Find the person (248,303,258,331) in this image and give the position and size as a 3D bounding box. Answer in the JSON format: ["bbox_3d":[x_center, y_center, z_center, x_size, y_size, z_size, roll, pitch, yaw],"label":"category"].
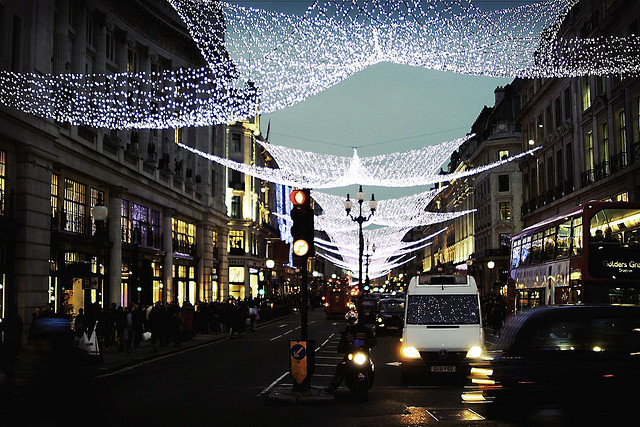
[{"bbox_3d":[-4.166,6.412,48.908,0.502,1.797,1.511,0,-12,-5],"label":"person"}]

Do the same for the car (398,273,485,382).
[{"bbox_3d":[3.880,3.153,24.831,1.926,2.601,4.267,-1,-11,6],"label":"car"}]

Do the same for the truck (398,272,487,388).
[{"bbox_3d":[3.972,3.781,25.856,1.902,2.515,4.310,-2,-10,6],"label":"truck"}]

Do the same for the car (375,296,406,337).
[{"bbox_3d":[3.964,5.498,43.941,1.641,1.839,3.151,0,-12,0],"label":"car"}]

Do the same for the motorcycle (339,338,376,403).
[{"bbox_3d":[1.086,4.700,23.634,0.821,1.879,0.704,-5,-12,19],"label":"motorcycle"}]

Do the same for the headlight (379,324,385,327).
[{"bbox_3d":[3.484,6.339,44.590,0.278,0.142,0.128,-2,-12,0],"label":"headlight"}]

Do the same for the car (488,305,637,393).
[{"bbox_3d":[5.322,2.990,17.436,2.800,1.525,1.706,-1,-4,1],"label":"car"}]

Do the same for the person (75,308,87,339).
[{"bbox_3d":[-9.721,4.470,32.312,0.465,1.488,3.175,2,-13,-16],"label":"person"}]

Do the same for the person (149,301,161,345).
[{"bbox_3d":[-7.619,5.155,36.483,0.424,1.846,1.063,1,-12,-10],"label":"person"}]

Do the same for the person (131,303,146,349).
[{"bbox_3d":[-8.219,4.927,35.960,0.625,1.669,1.295,1,-12,-12],"label":"person"}]

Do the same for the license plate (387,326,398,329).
[{"bbox_3d":[4.073,6.426,44.478,0.547,0.160,0.283,0,-13,-7],"label":"license plate"}]

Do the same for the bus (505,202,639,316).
[{"bbox_3d":[10.858,2.194,32.588,3.221,4.768,9.370,2,-11,-5],"label":"bus"}]

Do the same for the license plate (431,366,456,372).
[{"bbox_3d":[3.917,4.962,25.168,0.770,0.203,0.026,-2,-11,1],"label":"license plate"}]

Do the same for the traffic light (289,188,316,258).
[{"bbox_3d":[-0.534,0.309,24.195,0.690,2.201,1.098,-1,-12,-2],"label":"traffic light"}]

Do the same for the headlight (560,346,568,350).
[{"bbox_3d":[5.318,2.947,17.306,0.160,0.078,0.115,-6,-13,16],"label":"headlight"}]
